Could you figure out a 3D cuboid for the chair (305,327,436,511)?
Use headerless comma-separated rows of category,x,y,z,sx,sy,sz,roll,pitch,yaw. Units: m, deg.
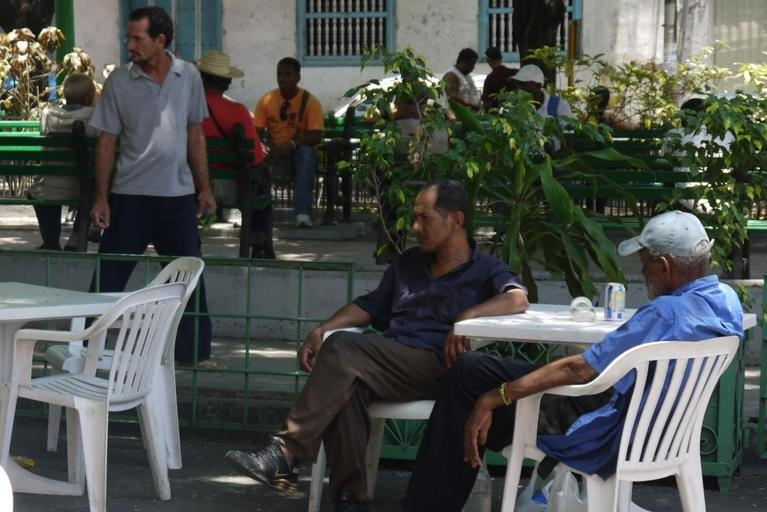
chair,-0.001,1.325,11.137,1.301,1.734,1.230,2,-15,2

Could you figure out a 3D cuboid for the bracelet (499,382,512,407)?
bracelet,0.871,1.005,10.158,0.048,0.144,0.108,-10,-11,8

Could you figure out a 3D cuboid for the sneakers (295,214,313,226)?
sneakers,-0.938,-0.443,16.796,0.145,0.096,0.234,0,-3,-2

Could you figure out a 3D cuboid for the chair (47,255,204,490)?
chair,-1.952,0.830,12.064,1.573,2.290,1.424,4,1,-9

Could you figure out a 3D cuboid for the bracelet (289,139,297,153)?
bracelet,-1.005,-1.268,15.858,0.084,0.189,0.237,0,15,5

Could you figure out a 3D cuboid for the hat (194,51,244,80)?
hat,-1.677,-1.923,13.846,0.358,0.154,0.412,4,23,-42

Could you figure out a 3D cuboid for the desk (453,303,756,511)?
desk,1.481,1.317,10.912,1.697,1.717,1.766,2,7,12

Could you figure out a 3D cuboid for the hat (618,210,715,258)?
hat,2.037,-0.155,10.170,0.492,0.237,0.324,7,12,30

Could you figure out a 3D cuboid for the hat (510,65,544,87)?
hat,1.469,-1.862,14.332,0.278,0.162,0.210,8,1,-13
